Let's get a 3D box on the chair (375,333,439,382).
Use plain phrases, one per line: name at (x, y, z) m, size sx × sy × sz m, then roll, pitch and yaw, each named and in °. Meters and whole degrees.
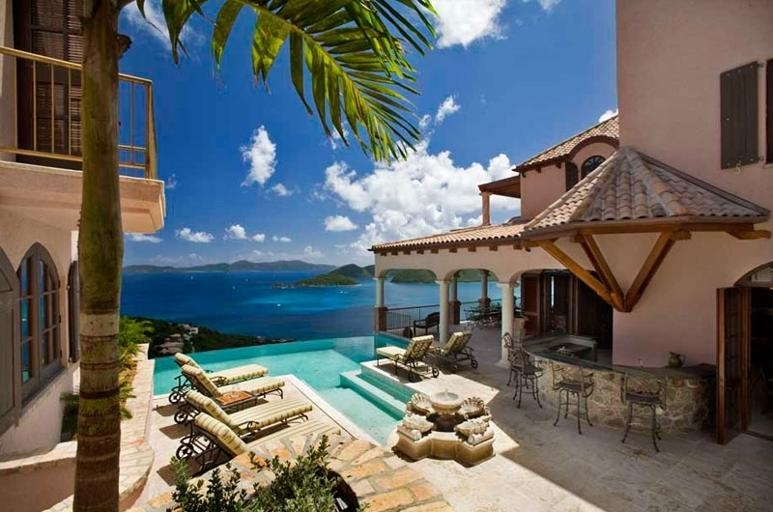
chair at (0.660, 3.108, 14.384) m, size 1.075 × 1.145 × 2.000 m, roll 3°, pitch -1°, yaw -29°
